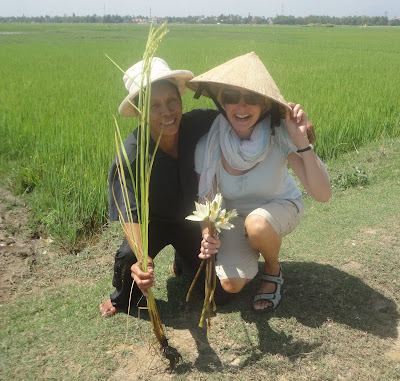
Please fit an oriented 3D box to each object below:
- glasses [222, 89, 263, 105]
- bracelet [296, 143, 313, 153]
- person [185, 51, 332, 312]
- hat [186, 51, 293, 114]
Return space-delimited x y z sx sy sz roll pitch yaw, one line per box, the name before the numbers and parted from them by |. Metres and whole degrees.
glasses | 0.314 -0.692 3.061 0.310 0.122 0.157 2 22 8
bracelet | 0.769 -0.303 3.034 0.090 0.064 0.098 -16 5 19
person | 0.433 -0.036 3.221 0.948 2.002 1.032 3 20 20
hat | 0.284 -0.832 3.155 0.823 0.402 0.487 4 23 13
